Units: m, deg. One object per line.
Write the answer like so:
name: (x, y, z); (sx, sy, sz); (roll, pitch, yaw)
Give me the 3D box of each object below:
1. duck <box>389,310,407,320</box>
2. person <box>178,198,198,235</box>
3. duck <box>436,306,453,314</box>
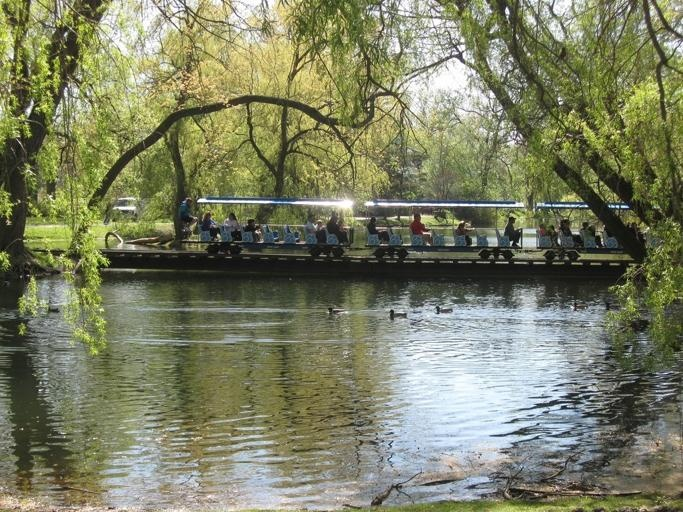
duck: (1.474, 1.548, 23.758); (0.403, 0.327, 0.224); (3, 7, -3)
person: (-6.228, -1.655, 36.591); (0.626, 1.449, 0.626); (-4, -6, 1)
duck: (2.780, 1.475, 24.795); (0.458, 0.354, 0.200); (0, -14, 0)
